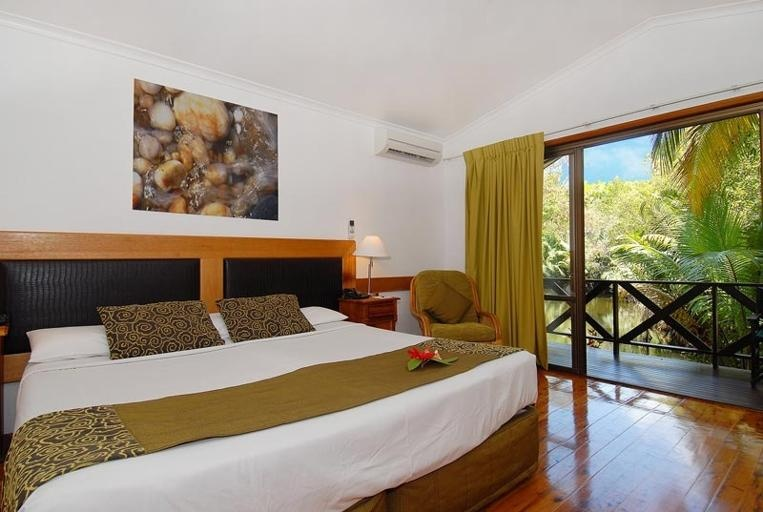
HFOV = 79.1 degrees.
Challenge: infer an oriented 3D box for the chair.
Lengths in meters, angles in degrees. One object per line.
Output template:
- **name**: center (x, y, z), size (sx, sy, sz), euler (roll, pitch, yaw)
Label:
- **chair**: center (0.872, 0.815, 5.725), size (0.982, 1.123, 1.063), euler (-2, 4, -16)

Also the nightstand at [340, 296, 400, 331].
- **nightstand**: center (-0.147, 0.568, 5.541), size (0.437, 0.532, 0.558), euler (0, 0, 43)
